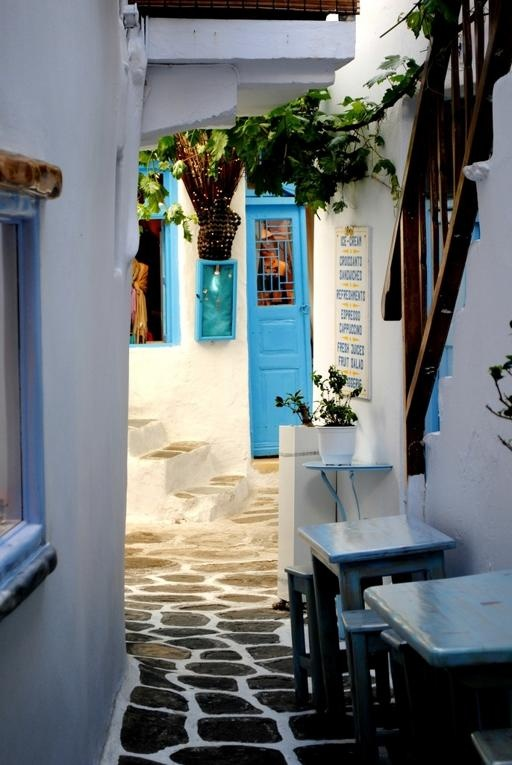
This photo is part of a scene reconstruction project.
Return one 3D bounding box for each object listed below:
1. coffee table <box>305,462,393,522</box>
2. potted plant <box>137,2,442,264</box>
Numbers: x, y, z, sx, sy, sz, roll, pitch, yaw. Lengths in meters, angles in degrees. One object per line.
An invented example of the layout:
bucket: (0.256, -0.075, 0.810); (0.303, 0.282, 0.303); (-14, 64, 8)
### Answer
coffee table: (0.507, 0.648, 5.094); (0.335, 0.405, 0.302); (-3, 12, 41)
potted plant: (0.170, -1.411, 5.210); (1.245, 0.646, 1.292); (-18, 11, 23)
